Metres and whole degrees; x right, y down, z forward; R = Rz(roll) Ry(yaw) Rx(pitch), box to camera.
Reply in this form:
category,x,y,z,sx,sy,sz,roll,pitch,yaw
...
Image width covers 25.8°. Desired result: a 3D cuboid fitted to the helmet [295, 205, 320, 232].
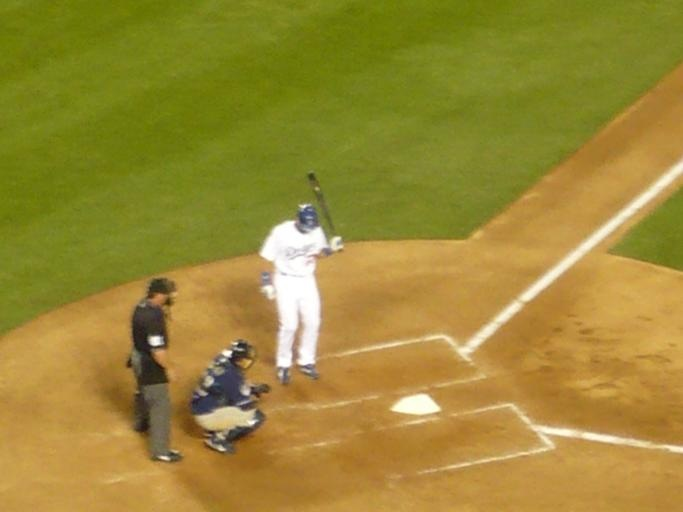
category,x,y,z,sx,sy,sz,roll,pitch,yaw
helmet,-0.517,-0.570,22.481,0.322,0.384,0.400,-1,1,-8

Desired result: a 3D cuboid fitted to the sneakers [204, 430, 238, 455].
category,x,y,z,sx,sy,sz,roll,pitch,yaw
sneakers,-1.768,2.798,21.914,0.456,0.111,0.256,21,58,-19

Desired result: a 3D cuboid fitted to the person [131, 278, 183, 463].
category,x,y,z,sx,sy,sz,roll,pitch,yaw
person,-2.629,1.694,21.608,0.735,2.479,1.263,-7,28,4

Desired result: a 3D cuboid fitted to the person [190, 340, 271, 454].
category,x,y,z,sx,sy,sz,roll,pitch,yaw
person,-1.626,2.198,22.060,0.598,1.167,1.169,17,37,40

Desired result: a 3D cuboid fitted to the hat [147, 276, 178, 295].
category,x,y,z,sx,sy,sz,roll,pitch,yaw
hat,-2.602,0.454,21.601,0.408,0.258,0.233,-12,27,-8
